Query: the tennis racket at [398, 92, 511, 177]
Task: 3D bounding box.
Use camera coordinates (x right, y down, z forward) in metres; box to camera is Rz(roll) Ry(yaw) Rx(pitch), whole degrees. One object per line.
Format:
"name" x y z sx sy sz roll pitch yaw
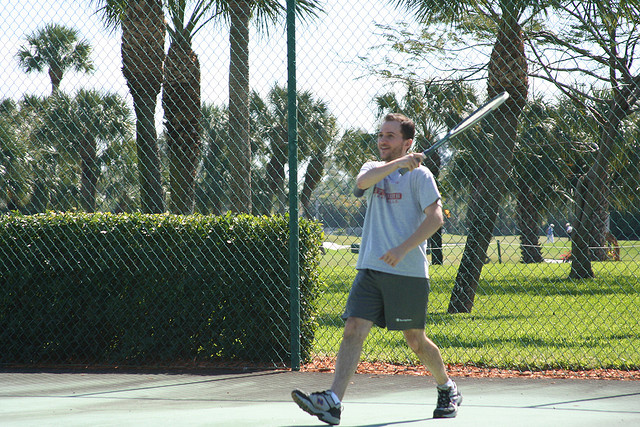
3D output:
"tennis racket" 1.701 -1.024 12.300 1.495 0.123 0.447 -30 -11 -41
